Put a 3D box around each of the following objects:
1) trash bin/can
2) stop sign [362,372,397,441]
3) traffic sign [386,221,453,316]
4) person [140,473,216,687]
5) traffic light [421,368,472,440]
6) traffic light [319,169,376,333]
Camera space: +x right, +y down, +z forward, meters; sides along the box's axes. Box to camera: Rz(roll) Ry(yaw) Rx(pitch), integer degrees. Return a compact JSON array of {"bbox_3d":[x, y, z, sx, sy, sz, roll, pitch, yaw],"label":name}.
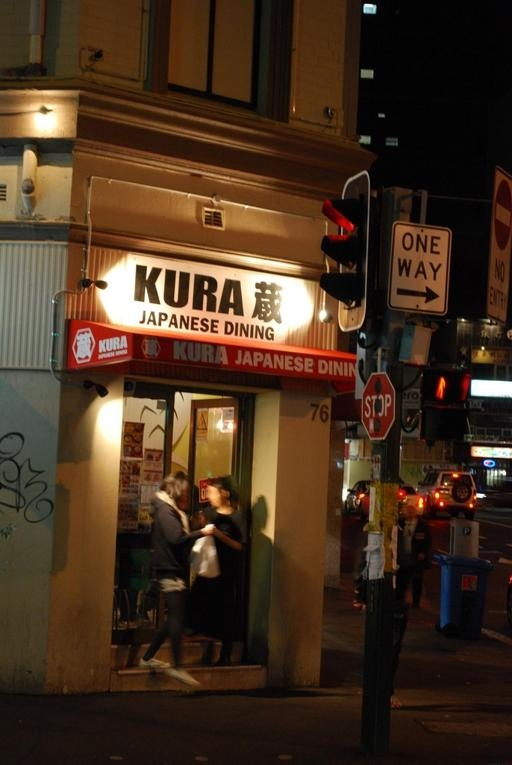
[{"bbox_3d":[2.800,2.925,12.079,0.633,1.070,0.447,3,-7,15],"label":"trash bin/can"},{"bbox_3d":[0.859,0.168,6.189,0.136,0.481,0.528,6,-7,-11],"label":"stop sign"},{"bbox_3d":[1.118,-0.793,6.222,0.623,0.911,0.060,1,-1,-22],"label":"traffic sign"},{"bbox_3d":[-0.679,1.682,7.542,0.499,1.805,0.723,5,-7,-6],"label":"person"},{"bbox_3d":[1.387,0.166,6.582,0.383,0.577,0.302,4,-7,4],"label":"traffic light"},{"bbox_3d":[0.660,-0.965,6.335,0.339,1.164,0.493,2,-7,22],"label":"traffic light"}]
